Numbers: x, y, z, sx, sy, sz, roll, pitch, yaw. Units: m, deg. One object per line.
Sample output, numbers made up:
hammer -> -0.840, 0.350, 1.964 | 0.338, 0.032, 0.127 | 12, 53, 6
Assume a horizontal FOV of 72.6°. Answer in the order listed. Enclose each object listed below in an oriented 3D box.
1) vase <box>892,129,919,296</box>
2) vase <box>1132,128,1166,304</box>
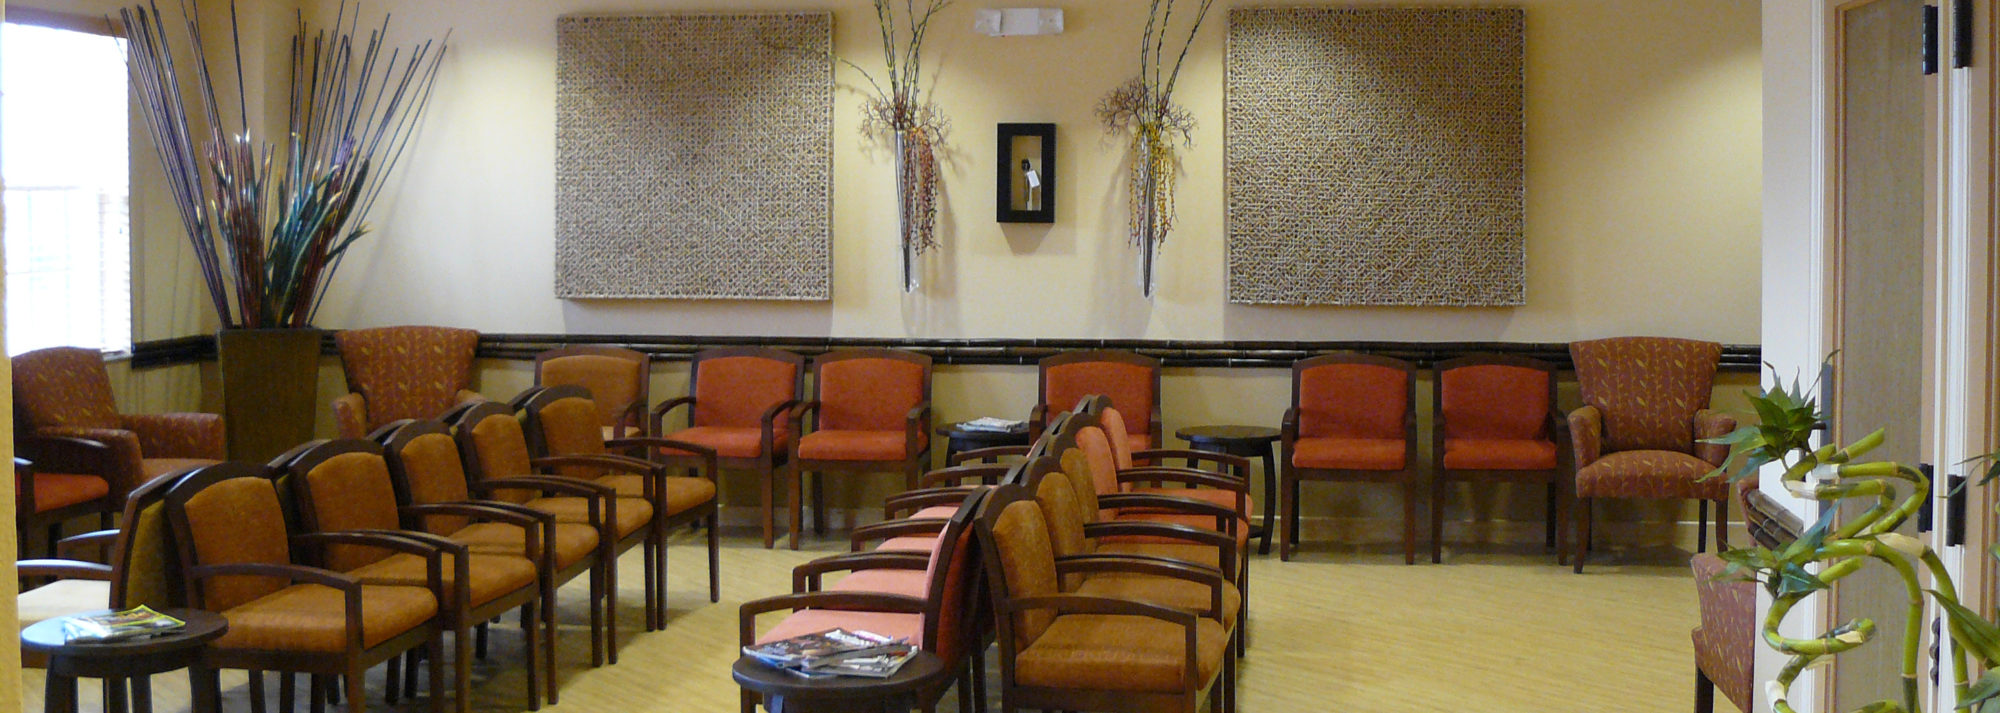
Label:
vase -> -0.996, -1.537, 14.678 | 0.272, 1.690, 0.164 | 0, 6, -8
vase -> 1.605, -1.503, 14.570 | 0.291, 1.760, 0.215 | 2, 6, 4
